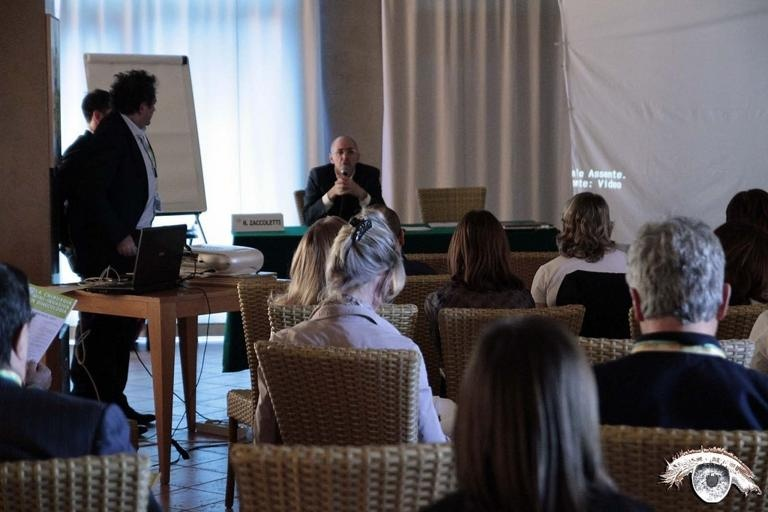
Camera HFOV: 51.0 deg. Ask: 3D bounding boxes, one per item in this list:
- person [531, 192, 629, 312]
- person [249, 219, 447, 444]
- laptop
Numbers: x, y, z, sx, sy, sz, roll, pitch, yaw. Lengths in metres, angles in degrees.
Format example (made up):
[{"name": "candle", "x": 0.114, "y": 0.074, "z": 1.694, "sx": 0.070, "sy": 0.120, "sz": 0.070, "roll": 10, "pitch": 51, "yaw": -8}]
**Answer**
[{"name": "person", "x": 1.056, "y": -0.016, "z": 4.185, "sx": 0.618, "sy": 0.748, "sz": 0.393, "roll": 0, "pitch": 25, "yaw": 8}, {"name": "person", "x": -0.118, "y": 0.272, "z": 2.752, "sx": 0.724, "sy": 0.822, "sz": 0.409, "roll": 5, "pitch": 9, "yaw": 34}, {"name": "laptop", "x": -1.181, "y": 0.013, "z": 3.880, "sx": 0.310, "sy": 0.291, "sz": 0.379, "roll": 1, "pitch": 1, "yaw": 20}]
